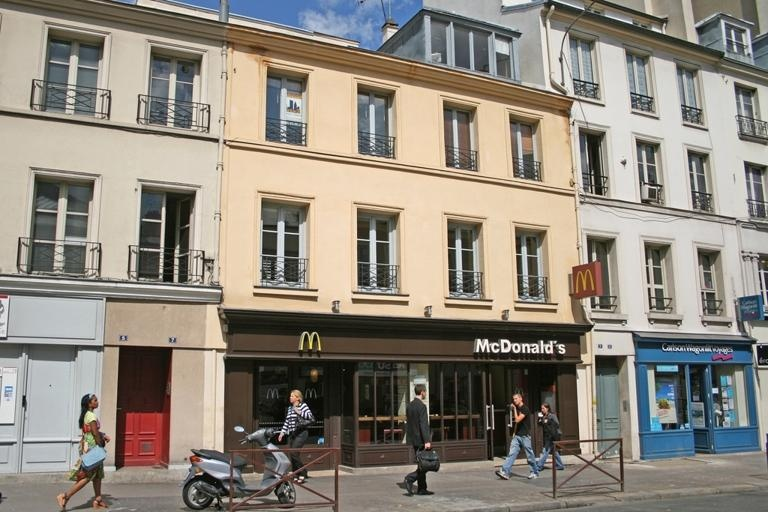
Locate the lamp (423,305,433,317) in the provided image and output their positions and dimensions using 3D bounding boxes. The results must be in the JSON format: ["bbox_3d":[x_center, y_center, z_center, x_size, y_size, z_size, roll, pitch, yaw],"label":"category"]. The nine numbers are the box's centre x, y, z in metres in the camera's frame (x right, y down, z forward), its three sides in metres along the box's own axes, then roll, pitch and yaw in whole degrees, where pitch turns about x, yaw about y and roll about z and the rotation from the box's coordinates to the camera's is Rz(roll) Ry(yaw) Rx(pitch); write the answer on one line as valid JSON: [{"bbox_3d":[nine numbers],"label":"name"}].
[{"bbox_3d":[1.392,1.687,23.069,0.293,0.359,0.152,1,-11,-15],"label":"lamp"}]

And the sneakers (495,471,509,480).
[{"bbox_3d":[3.292,6.123,20.919,0.236,0.224,0.498,6,-13,-34],"label":"sneakers"}]

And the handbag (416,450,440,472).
[{"bbox_3d":[1.078,5.053,18.473,0.536,0.534,0.281,0,-10,-8],"label":"handbag"}]

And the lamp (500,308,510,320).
[{"bbox_3d":[3.947,1.875,23.982,0.333,0.386,0.196,6,-13,-34],"label":"lamp"}]

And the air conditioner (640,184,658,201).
[{"bbox_3d":[9.541,-2.286,26.871,0.504,0.499,0.247,12,-17,-40],"label":"air conditioner"}]

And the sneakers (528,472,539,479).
[{"bbox_3d":[4.177,6.122,20.893,0.277,0.190,0.400,-4,-11,10],"label":"sneakers"}]

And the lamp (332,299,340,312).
[{"bbox_3d":[-1.449,1.465,21.969,0.280,0.328,0.290,1,-11,-5],"label":"lamp"}]
